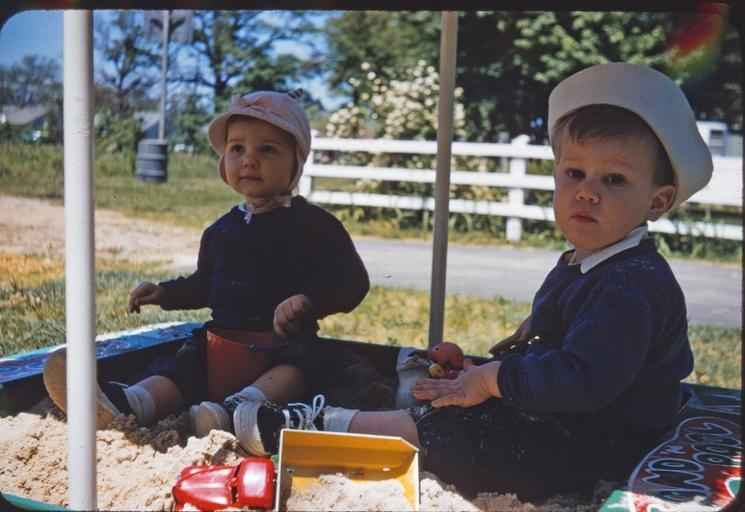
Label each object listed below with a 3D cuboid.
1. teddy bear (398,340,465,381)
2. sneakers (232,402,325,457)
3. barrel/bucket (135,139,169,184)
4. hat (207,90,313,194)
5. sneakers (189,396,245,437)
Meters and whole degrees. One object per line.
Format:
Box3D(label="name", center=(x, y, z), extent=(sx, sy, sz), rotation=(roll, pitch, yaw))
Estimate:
Box3D(label="teddy bear", center=(0.235, 0.465, 3.772), extent=(0.328, 0.157, 0.269), rotation=(0, -3, -22))
Box3D(label="sneakers", center=(-0.369, 0.669, 3.594), extent=(0.406, 0.179, 0.189), rotation=(-8, -10, -3))
Box3D(label="barrel/bucket", center=(-0.985, -0.413, 4.033), extent=(0.140, 0.169, 0.155), rotation=(2, 6, 10))
Box3D(label="hat", center=(-0.455, -0.543, 3.983), extent=(0.315, 0.453, 0.456), rotation=(-8, -20, 21))
Box3D(label="sneakers", center=(-0.632, 0.647, 3.568), extent=(0.134, 0.191, 0.068), rotation=(-27, -9, 28))
